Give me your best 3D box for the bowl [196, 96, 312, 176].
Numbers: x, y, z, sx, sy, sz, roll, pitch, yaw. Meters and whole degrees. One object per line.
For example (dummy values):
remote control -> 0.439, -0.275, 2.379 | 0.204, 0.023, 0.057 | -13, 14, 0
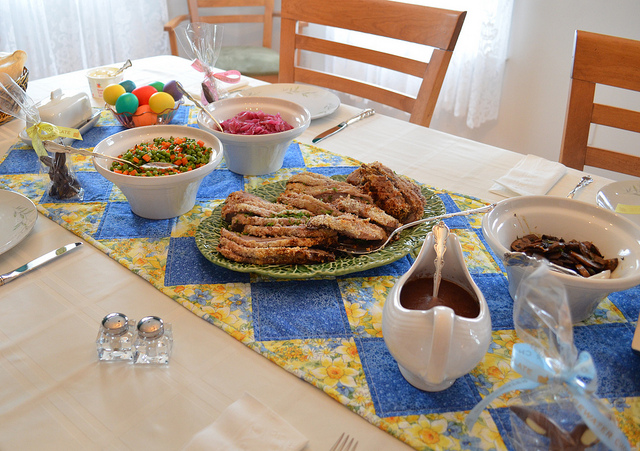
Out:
bowl -> -0.202, -0.284, 1.432 | 0.338, 0.156, 0.328 | 3, 36, -2

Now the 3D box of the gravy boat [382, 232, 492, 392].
gravy boat -> 0.223, 0.172, 0.829 | 0.184, 0.218, 0.250 | 22, 40, 23

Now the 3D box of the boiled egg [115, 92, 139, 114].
boiled egg -> -0.670, -0.427, 1.557 | 0.059, 0.057, 0.070 | -32, -4, -1

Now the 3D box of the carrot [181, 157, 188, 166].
carrot -> -0.363, -0.175, 1.203 | 0.018, 0.017, 0.016 | -7, -3, -2

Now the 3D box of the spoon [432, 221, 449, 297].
spoon -> 0.226, 0.064, 0.849 | 0.027, 0.012, 0.147 | 5, 76, 12

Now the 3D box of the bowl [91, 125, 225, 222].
bowl -> -0.430, -0.140, 1.233 | 0.321, 0.175, 0.331 | 5, 33, -3

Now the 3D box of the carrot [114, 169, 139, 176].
carrot -> -0.504, -0.139, 1.167 | 0.028, 0.008, 0.028 | 20, 15, 40

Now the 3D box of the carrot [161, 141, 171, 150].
carrot -> -0.432, -0.226, 1.252 | 0.024, 0.008, 0.024 | 15, 44, 31

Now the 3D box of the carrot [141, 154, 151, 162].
carrot -> -0.462, -0.182, 1.193 | 0.020, 0.017, 0.006 | -3, -5, -2

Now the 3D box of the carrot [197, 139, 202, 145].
carrot -> -0.342, -0.239, 1.273 | 0.015, 0.009, 0.014 | -2, 3, 2

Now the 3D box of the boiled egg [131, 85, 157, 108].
boiled egg -> -0.634, -0.487, 1.655 | 0.088, 0.064, 0.065 | -23, 15, -9

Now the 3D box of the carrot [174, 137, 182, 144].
carrot -> -0.399, -0.241, 1.260 | 0.022, 0.005, 0.021 | 23, 38, 28

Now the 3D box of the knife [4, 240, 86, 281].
knife -> -0.651, 0.087, 1.055 | 0.023, 0.016, 0.188 | 35, 35, 16

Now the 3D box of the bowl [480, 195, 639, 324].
bowl -> 0.502, 0.061, 0.978 | 0.309, 0.134, 0.299 | -5, 36, 3
